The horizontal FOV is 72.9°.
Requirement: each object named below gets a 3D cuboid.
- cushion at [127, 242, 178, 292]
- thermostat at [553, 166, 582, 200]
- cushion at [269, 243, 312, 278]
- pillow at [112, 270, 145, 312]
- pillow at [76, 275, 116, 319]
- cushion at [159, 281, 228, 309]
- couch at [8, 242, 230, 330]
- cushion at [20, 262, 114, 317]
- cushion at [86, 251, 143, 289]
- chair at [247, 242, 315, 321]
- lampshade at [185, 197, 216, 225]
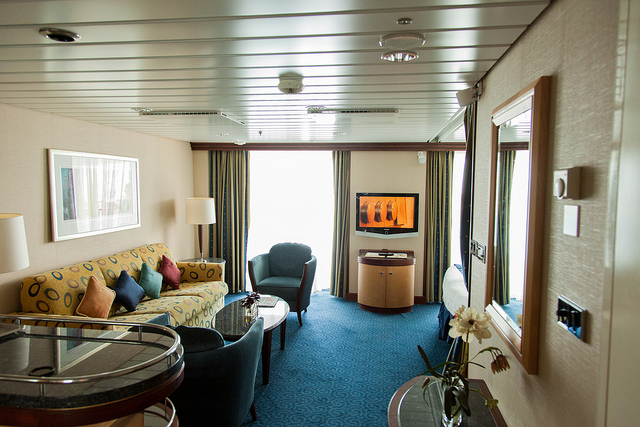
[{"bbox_3d":[-2.289,0.688,5.990,0.189,0.560,0.642,-30,-6,11],"label":"cushion"},{"bbox_3d":[1.251,-0.154,2.212,0.092,0.162,0.170,-1,2,6],"label":"thermostat"},{"bbox_3d":[-0.454,0.728,6.918,0.655,0.548,0.510,1,-4,5],"label":"cushion"},{"bbox_3d":[-2.201,0.891,4.993,0.268,0.401,0.386,-3,9,-15],"label":"pillow"},{"bbox_3d":[-2.299,0.892,4.481,0.124,0.391,0.393,-13,-34,31],"label":"pillow"},{"bbox_3d":[-1.591,1.020,5.846,0.847,0.241,0.843,4,3,1],"label":"cushion"},{"bbox_3d":[-2.196,0.997,5.309,1.375,1.004,2.249,1,8,11],"label":"couch"},{"bbox_3d":[-2.648,0.783,4.533,0.570,0.499,0.769,-1,-3,16],"label":"cushion"},{"bbox_3d":[-2.518,0.690,5.370,0.364,0.364,0.556,4,5,9],"label":"cushion"},{"bbox_3d":[-0.543,1.012,6.437,0.930,0.978,0.965,1,9,7],"label":"chair"},{"bbox_3d":[-1.946,-0.036,6.900,0.447,0.367,0.449,4,3,39],"label":"lampshade"}]
